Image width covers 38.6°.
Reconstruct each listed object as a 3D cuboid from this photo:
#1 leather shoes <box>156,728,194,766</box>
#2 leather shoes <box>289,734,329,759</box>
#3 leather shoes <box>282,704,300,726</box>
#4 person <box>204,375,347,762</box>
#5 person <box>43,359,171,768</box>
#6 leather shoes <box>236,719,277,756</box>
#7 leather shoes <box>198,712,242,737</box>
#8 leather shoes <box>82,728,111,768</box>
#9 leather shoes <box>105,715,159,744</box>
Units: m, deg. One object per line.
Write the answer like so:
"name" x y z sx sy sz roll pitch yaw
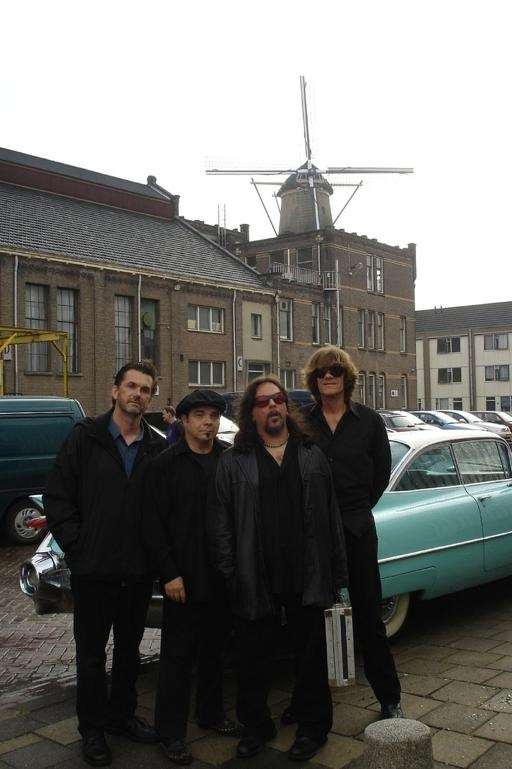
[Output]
"leather shoes" -0.365 1.628 3.256 0.075 0.094 0.221 3 -11 -29
"leather shoes" 0.223 1.595 3.212 0.088 0.070 0.228 -4 -3 30
"leather shoes" 0.172 1.631 3.592 0.061 0.079 0.183 2 0 7
"person" 0.122 0.807 3.364 0.580 1.694 0.404 -3 -3 6
"person" -0.671 0.797 3.444 0.489 1.816 0.568 -4 -3 21
"leather shoes" 0.006 1.595 3.262 0.074 0.094 0.221 -8 -14 27
"leather shoes" -0.164 1.652 3.526 0.181 0.081 0.086 -6 -9 33
"leather shoes" -0.701 1.599 3.198 0.112 0.116 0.158 -1 -3 -25
"leather shoes" -0.593 1.644 3.544 0.289 0.117 0.109 -1 -3 26
